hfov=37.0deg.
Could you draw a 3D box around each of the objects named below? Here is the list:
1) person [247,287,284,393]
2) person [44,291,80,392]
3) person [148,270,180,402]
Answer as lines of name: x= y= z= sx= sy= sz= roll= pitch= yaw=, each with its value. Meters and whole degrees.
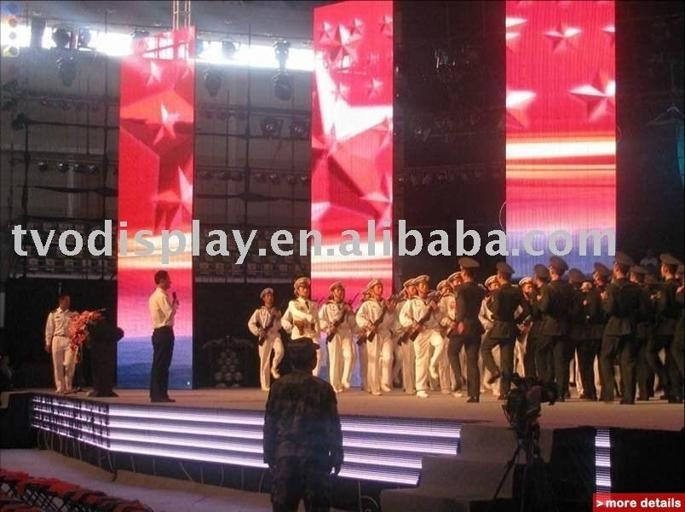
person: x=-1.488 y=1.612 z=20.041 sx=0.732 sy=1.917 sz=0.609 roll=-2 pitch=-5 yaw=0
person: x=-5.490 y=1.696 z=19.839 sx=0.549 sy=1.872 sz=1.327 roll=0 pitch=-3 yaw=-17
person: x=-3.001 y=1.356 z=17.257 sx=0.621 sy=2.191 sz=0.671 roll=3 pitch=-6 yaw=-34
